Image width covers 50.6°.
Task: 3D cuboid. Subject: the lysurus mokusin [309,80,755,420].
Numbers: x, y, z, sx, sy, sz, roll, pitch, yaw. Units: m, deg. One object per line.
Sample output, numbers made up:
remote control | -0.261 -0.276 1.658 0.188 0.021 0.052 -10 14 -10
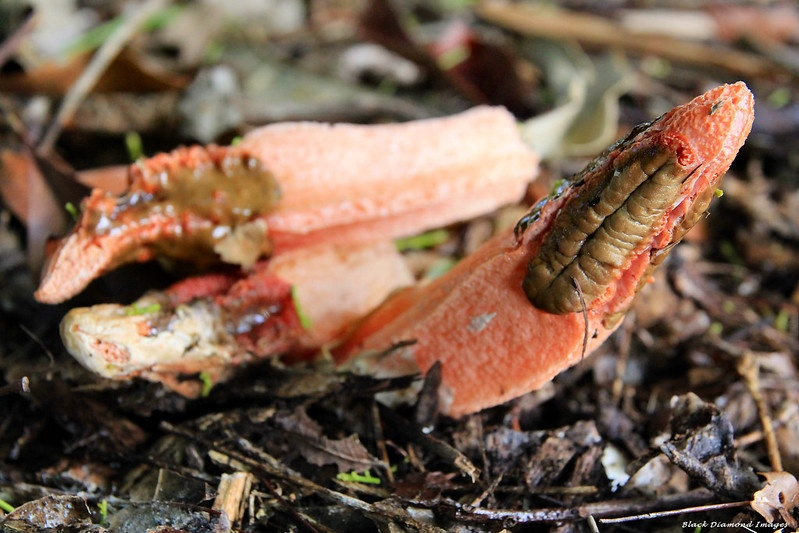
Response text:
lysurus mokusin | 0.279 -0.002 1.648 0.731 0.673 0.315 -20 62 -22

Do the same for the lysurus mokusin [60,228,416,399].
lysurus mokusin | -0.350 0.027 1.891 0.976 0.272 0.318 -9 71 -55
